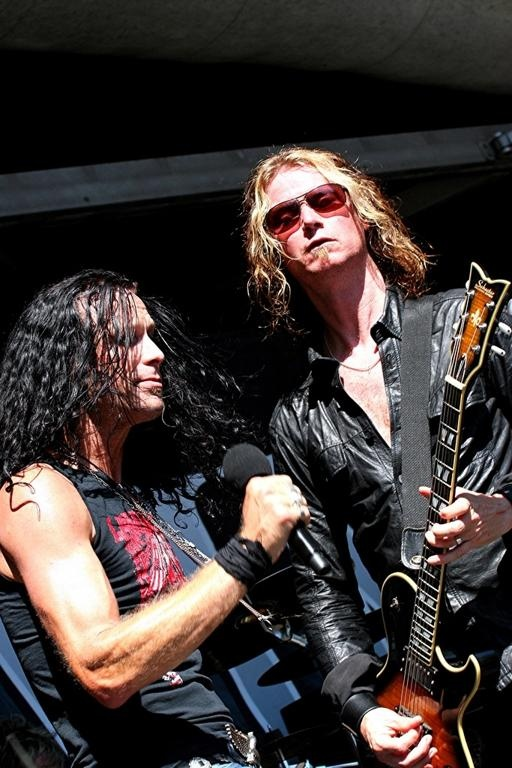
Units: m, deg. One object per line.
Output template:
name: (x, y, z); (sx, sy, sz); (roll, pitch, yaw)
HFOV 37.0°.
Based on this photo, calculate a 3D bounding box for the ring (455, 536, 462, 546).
ring: (0.549, 0.439, 2.129); (0.018, 0.021, 0.025); (2, -36, 6)

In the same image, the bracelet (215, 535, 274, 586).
bracelet: (-0.034, 0.441, 1.890); (0.119, 0.132, 0.072); (-26, 5, -8)

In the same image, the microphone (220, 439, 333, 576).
microphone: (0.047, 0.305, 1.981); (0.160, 0.482, 0.138); (-13, -46, -36)
